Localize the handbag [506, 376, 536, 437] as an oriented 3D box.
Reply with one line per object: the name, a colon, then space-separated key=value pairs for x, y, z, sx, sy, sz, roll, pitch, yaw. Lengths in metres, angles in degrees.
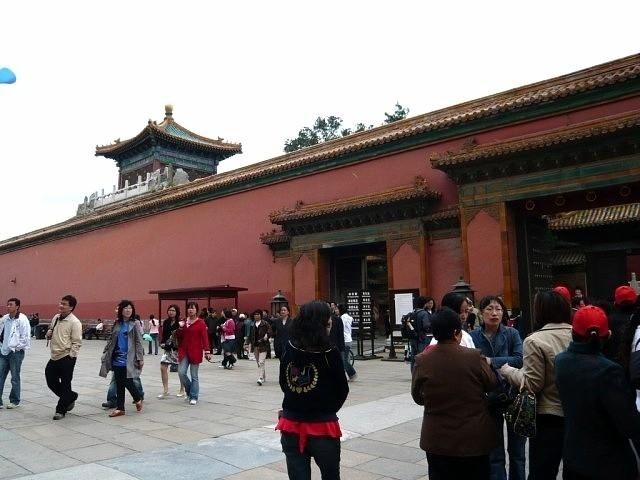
handbag: x=1.758 y=1.428 z=4.497 sx=0.194 sy=0.431 sz=0.439 roll=3 pitch=-26 yaw=-3

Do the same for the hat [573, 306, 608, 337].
hat: x=2.161 y=0.635 z=4.129 sx=0.186 sy=0.164 sz=0.279 roll=1 pitch=3 yaw=22

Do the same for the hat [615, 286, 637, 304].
hat: x=3.545 y=0.627 z=6.008 sx=0.199 sy=0.156 sz=0.301 roll=-6 pitch=-7 yaw=26

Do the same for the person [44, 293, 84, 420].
person: x=-4.281 y=1.927 z=8.663 sx=0.510 sy=1.981 sz=0.620 roll=2 pitch=-9 yaw=-28

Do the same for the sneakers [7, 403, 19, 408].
sneakers: x=-5.445 y=2.921 z=9.201 sx=0.202 sy=0.090 sz=0.075 roll=-2 pitch=-1 yaw=16
